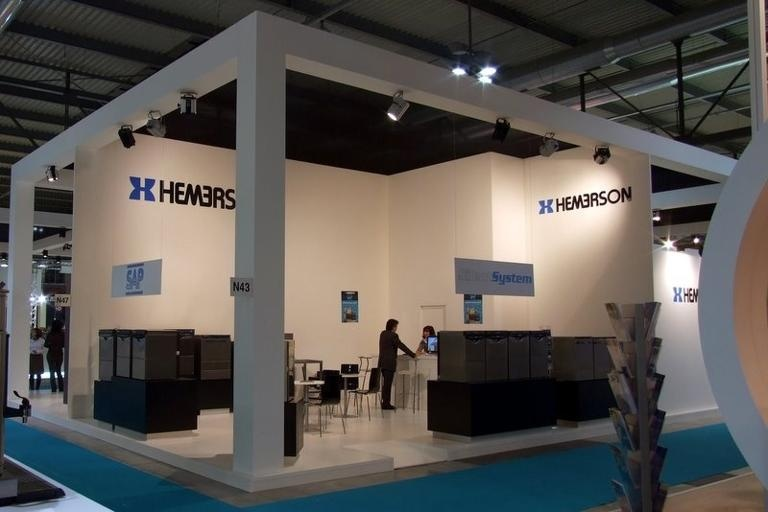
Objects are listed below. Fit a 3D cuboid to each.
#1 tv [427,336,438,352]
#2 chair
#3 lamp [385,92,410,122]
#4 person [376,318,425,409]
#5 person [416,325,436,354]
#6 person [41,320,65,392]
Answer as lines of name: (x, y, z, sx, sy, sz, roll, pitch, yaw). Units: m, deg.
tv: (0.942, 1.754, 11.384, 0.135, 0.297, 0.248, 2, -3, -13)
chair: (-0.934, 2.445, 10.181, 1.371, 0.907, 1.429, -3, -6, 36)
lamp: (0.196, -2.126, 8.201, 0.243, 0.361, 0.272, 1, -3, 2)
person: (0.199, 2.114, 11.161, 0.603, 1.737, 0.466, 1, -3, 3)
person: (0.811, 1.714, 11.818, 0.518, 0.745, 0.444, 3, -5, -12)
person: (-7.724, 2.331, 13.471, 0.389, 1.634, 1.115, 3, -3, -34)
